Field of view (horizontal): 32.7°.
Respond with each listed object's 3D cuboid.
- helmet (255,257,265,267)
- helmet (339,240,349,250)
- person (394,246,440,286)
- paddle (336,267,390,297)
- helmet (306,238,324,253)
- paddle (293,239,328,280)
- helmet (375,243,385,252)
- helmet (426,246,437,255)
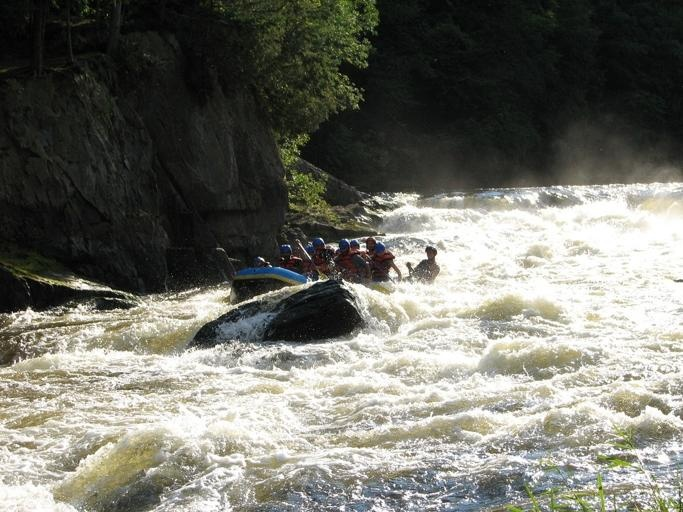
[{"bbox_3d":[-2.222,0.145,32.182,0.204,0.269,0.269,-5,5,-13],"label":"helmet"},{"bbox_3d":[0.072,-0.325,33.959,0.216,0.281,0.265,-1,-26,22],"label":"helmet"},{"bbox_3d":[2.436,0.324,34.222,1.065,1.325,1.156,10,15,-2],"label":"person"},{"bbox_3d":[0.701,0.589,33.062,0.876,0.319,0.883,5,26,-27],"label":"paddle"},{"bbox_3d":[-0.781,-0.382,34.968,0.426,0.476,0.582,-21,-12,0],"label":"helmet"},{"bbox_3d":[-0.904,0.129,34.803,0.366,0.268,1.858,-24,39,-15],"label":"paddle"},{"bbox_3d":[1.132,-0.267,33.997,0.266,0.264,0.402,0,10,-1],"label":"helmet"},{"bbox_3d":[2.662,-0.167,34.475,0.282,0.280,0.620,2,10,8],"label":"helmet"}]
